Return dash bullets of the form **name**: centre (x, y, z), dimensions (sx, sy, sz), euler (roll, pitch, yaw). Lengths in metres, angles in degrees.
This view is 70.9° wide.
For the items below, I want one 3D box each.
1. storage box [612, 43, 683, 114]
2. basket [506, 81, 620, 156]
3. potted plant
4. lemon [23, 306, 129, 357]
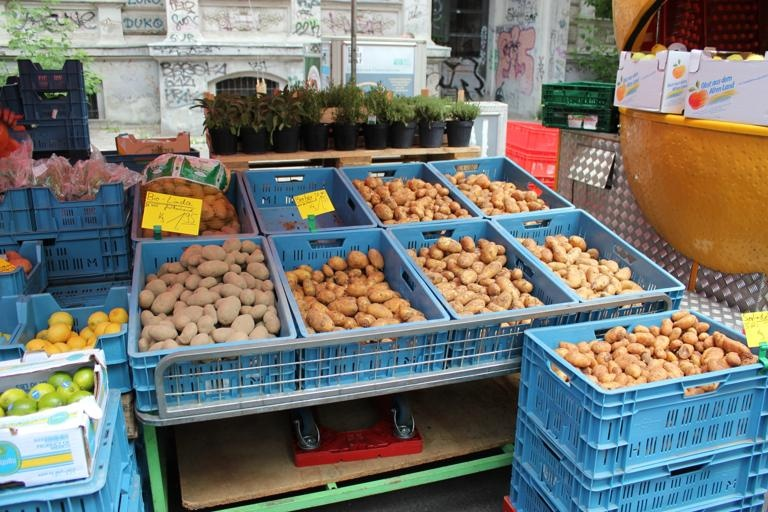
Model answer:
- **storage box**: centre (1.907, -1.225, 3.824), dimensions (0.235, 0.410, 0.621), euler (-5, 20, -7)
- **basket**: centre (1.799, -1.360, 4.974), dimensions (0.272, 0.417, 0.883), euler (-14, 23, -28)
- **potted plant**: centre (-0.452, -1.362, 5.463), dimensions (2.585, 0.664, 0.526), euler (-7, 20, -11)
- **lemon**: centre (-1.719, 0.425, 3.068), dimensions (0.342, 0.145, 0.352), euler (-9, 27, -27)
